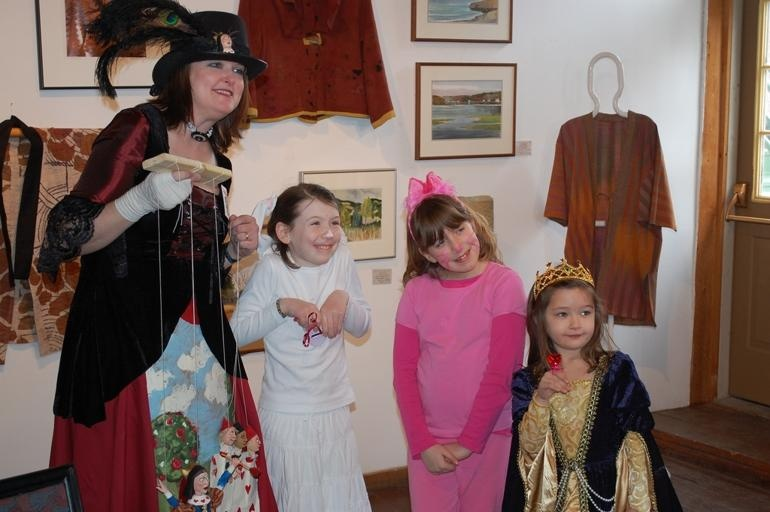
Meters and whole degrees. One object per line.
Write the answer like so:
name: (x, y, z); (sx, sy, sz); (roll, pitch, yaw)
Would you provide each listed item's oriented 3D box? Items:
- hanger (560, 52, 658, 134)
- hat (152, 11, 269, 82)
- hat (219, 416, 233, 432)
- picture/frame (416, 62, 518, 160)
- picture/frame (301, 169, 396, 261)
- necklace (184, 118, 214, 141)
hanger: (1.378, -1.024, 4.040); (0.558, 0.381, 0.015); (5, 19, 34)
hat: (-0.611, -0.736, 2.258); (0.394, 0.207, 0.350); (-3, 10, -5)
hat: (-0.536, 0.561, 2.184); (0.036, 0.039, 0.046); (38, 31, 25)
picture/frame: (0.458, -0.870, 3.800); (0.545, 0.499, 0.024); (-4, 11, -17)
picture/frame: (-0.185, -0.221, 3.181); (0.457, 0.463, 0.045); (-5, 14, -19)
necklace: (-0.632, -0.422, 2.182); (0.055, 0.065, 0.024); (-10, -8, -34)
